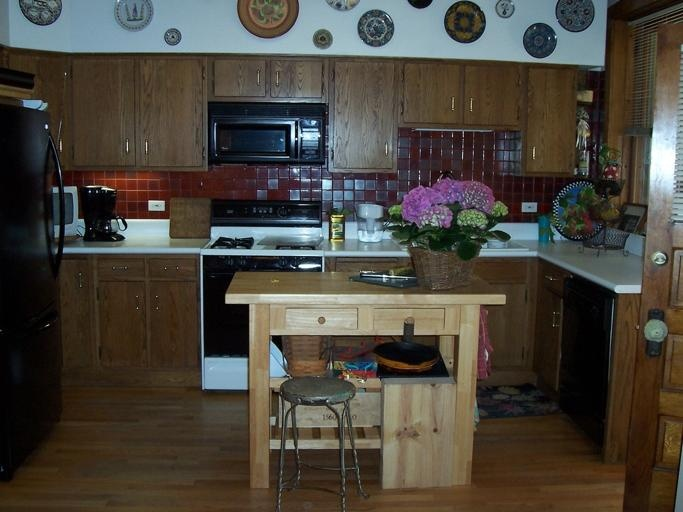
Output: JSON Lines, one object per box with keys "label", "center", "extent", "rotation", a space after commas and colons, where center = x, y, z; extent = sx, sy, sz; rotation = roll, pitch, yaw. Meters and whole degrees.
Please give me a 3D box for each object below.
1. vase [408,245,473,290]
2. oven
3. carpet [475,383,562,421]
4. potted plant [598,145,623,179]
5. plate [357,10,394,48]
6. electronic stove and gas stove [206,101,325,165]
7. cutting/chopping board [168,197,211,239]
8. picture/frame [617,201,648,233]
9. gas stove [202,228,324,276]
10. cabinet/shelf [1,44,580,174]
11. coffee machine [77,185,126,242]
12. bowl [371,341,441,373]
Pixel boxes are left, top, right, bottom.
{"label": "vase", "center": [0.533, 0.038, 3.409], "extent": [0.228, 0.246, 0.317], "rotation": [-2, 10, -16]}
{"label": "oven", "center": [-0.785, 0.401, 4.646], "extent": [0.554, 0.616, 0.479], "rotation": [0, 11, -10]}
{"label": "carpet", "center": [1.260, 1.063, 4.589], "extent": [0.626, 0.025, 0.674], "rotation": [-16, -27, 18]}
{"label": "potted plant", "center": [2.052, -0.718, 4.649], "extent": [0.157, 0.263, 0.638], "rotation": [7, 16, 25]}
{"label": "plate", "center": [0.275, -1.808, 4.858], "extent": [0.286, 0.282, 0.070], "rotation": [2, 14, 4]}
{"label": "electronic stove and gas stove", "center": [-0.593, -0.968, 5.028], "extent": [0.843, 0.421, 0.486], "rotation": [1, 6, 0]}
{"label": "cutting/chopping board", "center": [-1.261, -0.318, 5.086], "extent": [0.328, 0.324, 0.118], "rotation": [1, 14, 0]}
{"label": "picture/frame", "center": [2.192, -0.288, 4.583], "extent": [0.038, 0.275, 0.271], "rotation": [14, 3, -18]}
{"label": "gas stove", "center": [-0.611, -0.069, 4.856], "extent": [0.938, 0.186, 0.780], "rotation": [0, 14, -4]}
{"label": "cabinet/shelf", "center": [-0.377, -1.140, 4.870], "extent": [4.289, 0.907, 0.345], "rotation": [1, 14, 1]}
{"label": "coffee machine", "center": [-1.904, -0.385, 4.868], "extent": [0.324, 0.475, 0.297], "rotation": [-2, 13, -24]}
{"label": "bowl", "center": [0.383, 0.539, 3.488], "extent": [0.337, 0.174, 0.320], "rotation": [4, 9, -1]}
